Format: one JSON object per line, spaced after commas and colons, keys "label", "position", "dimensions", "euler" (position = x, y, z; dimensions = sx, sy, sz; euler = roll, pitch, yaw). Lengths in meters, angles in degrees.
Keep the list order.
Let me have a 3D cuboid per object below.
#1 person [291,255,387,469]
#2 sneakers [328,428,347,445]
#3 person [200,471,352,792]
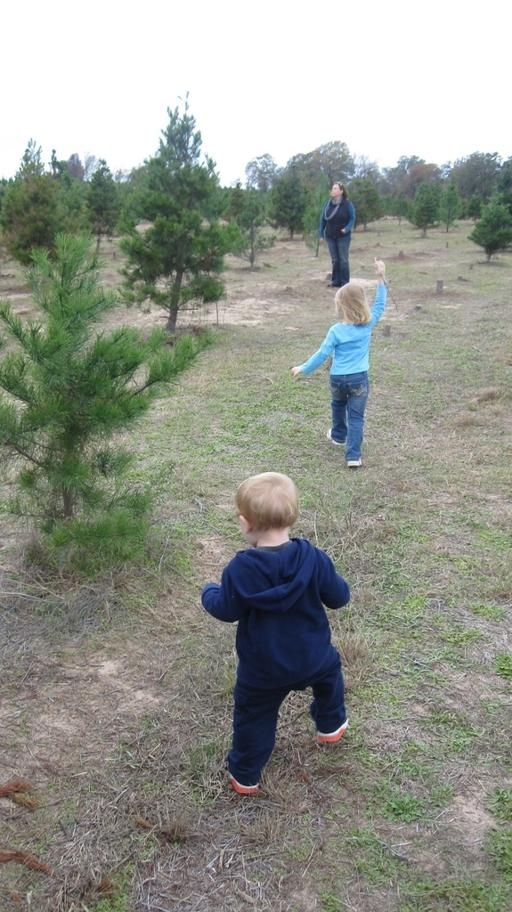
{"label": "person", "position": [0.650, -0.734, 5.235], "dimensions": [0.597, 1.381, 1.791], "euler": [0, 12, 9]}
{"label": "sneakers", "position": [0.607, -0.146, 5.240], "dimensions": [0.061, 0.084, 0.178], "euler": [-1, 24, -11]}
{"label": "person", "position": [0.059, 0.587, 2.150], "dimensions": [0.446, 1.049, 0.228], "euler": [-1, 12, 7]}
